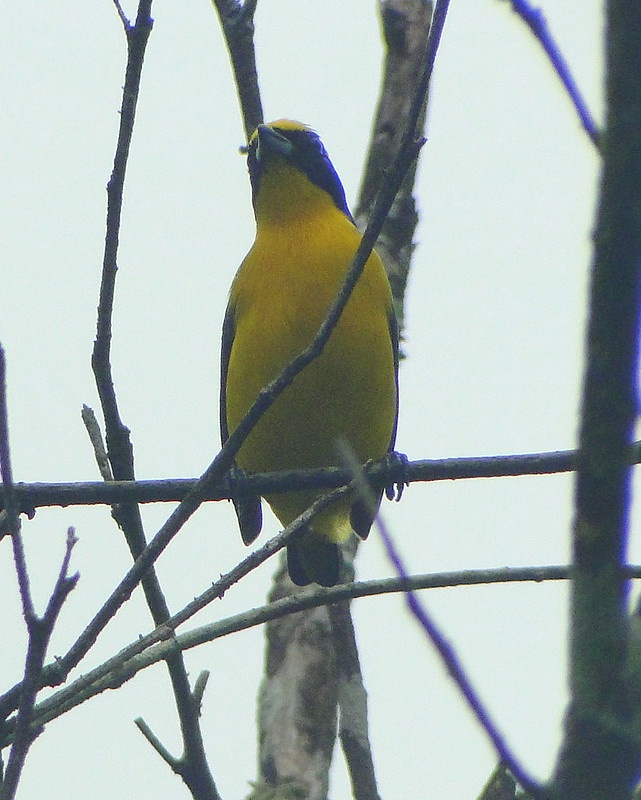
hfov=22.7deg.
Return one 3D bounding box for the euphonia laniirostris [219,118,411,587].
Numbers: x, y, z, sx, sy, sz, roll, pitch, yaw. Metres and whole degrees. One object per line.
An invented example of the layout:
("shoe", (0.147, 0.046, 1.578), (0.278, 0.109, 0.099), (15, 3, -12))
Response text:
("euphonia laniirostris", (-0.031, -0.239, 4.903), (0.560, 1.633, 0.953), (0, -51, -4))
